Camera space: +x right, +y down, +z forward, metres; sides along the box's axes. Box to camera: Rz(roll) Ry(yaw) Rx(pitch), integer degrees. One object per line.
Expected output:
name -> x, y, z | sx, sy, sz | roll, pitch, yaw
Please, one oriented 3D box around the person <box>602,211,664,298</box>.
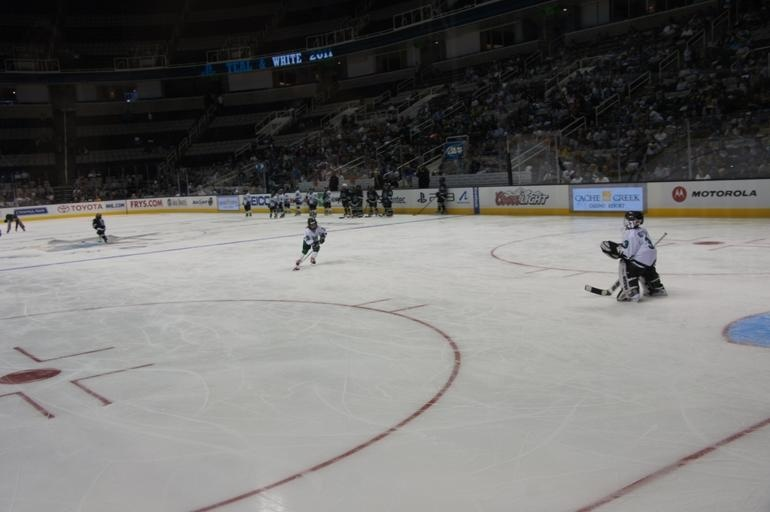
person -> 4.228, -0.001, 10.654 | 0.911, 1.493, 0.543 | -11, 16, -29
